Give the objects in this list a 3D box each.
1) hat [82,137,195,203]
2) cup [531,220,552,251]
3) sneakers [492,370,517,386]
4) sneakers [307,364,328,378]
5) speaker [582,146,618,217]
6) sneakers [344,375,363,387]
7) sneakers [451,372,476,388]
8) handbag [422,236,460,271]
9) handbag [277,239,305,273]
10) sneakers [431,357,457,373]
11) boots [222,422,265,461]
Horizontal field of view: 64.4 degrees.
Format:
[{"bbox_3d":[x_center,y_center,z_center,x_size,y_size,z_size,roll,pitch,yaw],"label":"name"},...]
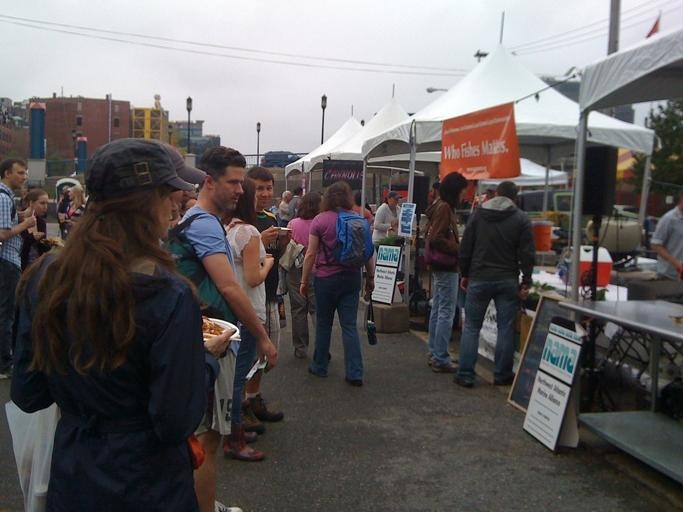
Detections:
[{"bbox_3d":[-0.892,-0.376,2.410,0.378,0.201,0.274,-9,17,-31],"label":"hat"},{"bbox_3d":[3.055,-0.316,8.318,0.428,0.483,0.442,-1,1,0],"label":"cup"},{"bbox_3d":[1.940,1.457,6.454,0.274,0.155,0.119,-2,4,-13],"label":"sneakers"},{"bbox_3d":[-0.285,1.410,6.753,0.100,0.208,0.266,0,12,-43],"label":"sneakers"},{"bbox_3d":[2.447,-0.710,5.147,0.275,0.655,0.283,4,8,26],"label":"speaker"},{"bbox_3d":[0.139,1.472,6.437,0.078,0.101,0.222,0,7,-23],"label":"sneakers"},{"bbox_3d":[1.428,1.465,6.440,0.109,0.125,0.244,-1,7,-13],"label":"sneakers"},{"bbox_3d":[1.252,-0.024,6.931,0.612,0.498,0.344,1,-10,-17],"label":"handbag"},{"bbox_3d":[-0.652,0.008,7.024,0.297,0.284,0.179,49,30,11],"label":"handbag"},{"bbox_3d":[1.287,1.396,6.927,0.360,0.189,0.137,-2,5,-6],"label":"sneakers"},{"bbox_3d":[-0.814,1.622,4.773,0.465,0.376,0.189,1,1,-15],"label":"boots"}]
